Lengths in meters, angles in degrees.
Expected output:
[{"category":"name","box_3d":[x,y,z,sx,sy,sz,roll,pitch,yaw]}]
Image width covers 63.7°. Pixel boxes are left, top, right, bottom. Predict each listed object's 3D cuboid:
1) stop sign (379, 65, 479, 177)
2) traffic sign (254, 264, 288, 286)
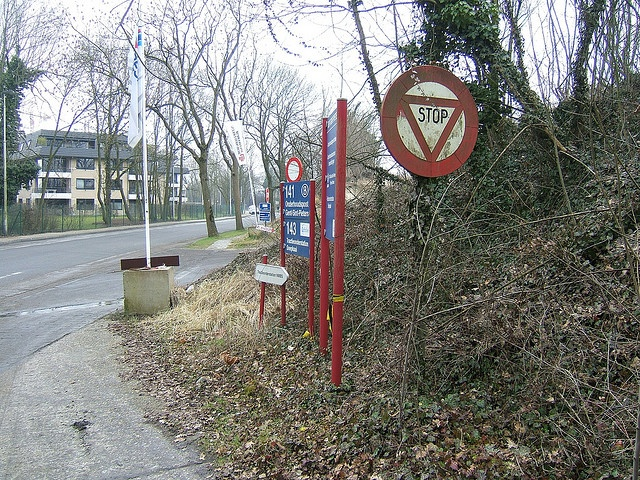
[{"category":"stop sign","box_3d":[1.158,-1.243,5.447,1.041,1.122,0.168,-11,11,-12]},{"category":"traffic sign","box_3d":[-0.790,0.592,8.393,0.230,0.381,0.951,-14,12,-29]}]
